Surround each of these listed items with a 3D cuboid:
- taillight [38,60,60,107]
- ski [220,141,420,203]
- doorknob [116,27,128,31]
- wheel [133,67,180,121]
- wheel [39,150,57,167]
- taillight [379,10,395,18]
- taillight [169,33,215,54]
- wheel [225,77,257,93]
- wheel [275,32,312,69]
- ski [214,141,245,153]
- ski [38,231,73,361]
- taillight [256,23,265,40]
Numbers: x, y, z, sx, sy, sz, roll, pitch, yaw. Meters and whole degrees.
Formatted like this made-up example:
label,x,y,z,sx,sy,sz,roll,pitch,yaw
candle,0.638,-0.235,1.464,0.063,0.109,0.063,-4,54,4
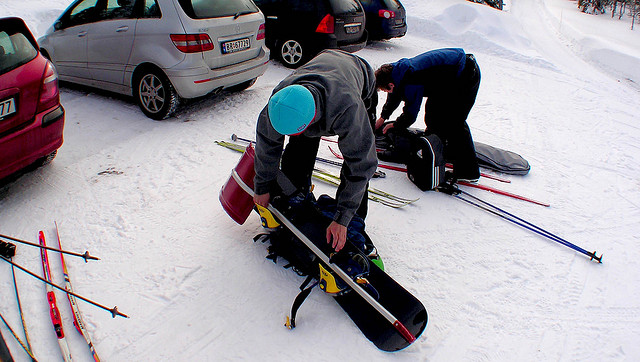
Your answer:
label,x,y,z,sx,sy,sz,roll,pitch,yaw
taillight,-3.760,-1.346,5.676,0.256,0.540,0.315,19,29,-5
ski,-0.045,-0.099,5.617,2.068,0.171,0.232,20,49,16
doorknob,-3.195,-2.473,6.763,0.206,0.053,0.032,9,37,15
wheel,-2.684,-1.453,6.967,0.871,0.850,0.309,14,17,28
wheel,-3.842,-0.320,5.894,0.207,0.251,0.227,6,-9,-7
taillight,1.667,-4.184,10.408,0.378,0.163,0.126,2,35,5
taillight,-2.000,-2.174,6.554,0.468,0.204,0.342,-2,16,-12
wheel,-1.480,-1.768,7.779,0.365,0.086,0.378,-7,26,3
wheel,-0.568,-2.732,8.725,0.860,0.704,0.240,19,40,27
ski,-1.435,-0.538,6.574,0.525,0.068,0.059,20,74,11
ski,-3.145,1.434,4.973,0.120,0.121,1.426,-12,65,-27
taillight,-1.030,-2.609,7.280,0.018,0.235,0.217,15,38,22
